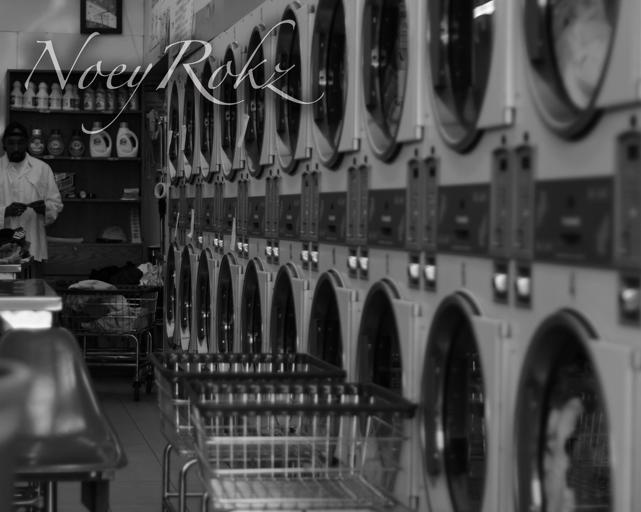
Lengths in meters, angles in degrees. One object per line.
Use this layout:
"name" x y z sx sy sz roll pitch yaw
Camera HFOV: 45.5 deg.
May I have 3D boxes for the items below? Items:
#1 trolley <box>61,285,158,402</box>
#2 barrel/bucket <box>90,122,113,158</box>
"trolley" -1.786 0.757 6.565 0.711 1.192 1.498 0 -4 -3
"barrel/bucket" -2.261 -1.177 7.886 0.205 0.402 0.130 -1 -16 -12
